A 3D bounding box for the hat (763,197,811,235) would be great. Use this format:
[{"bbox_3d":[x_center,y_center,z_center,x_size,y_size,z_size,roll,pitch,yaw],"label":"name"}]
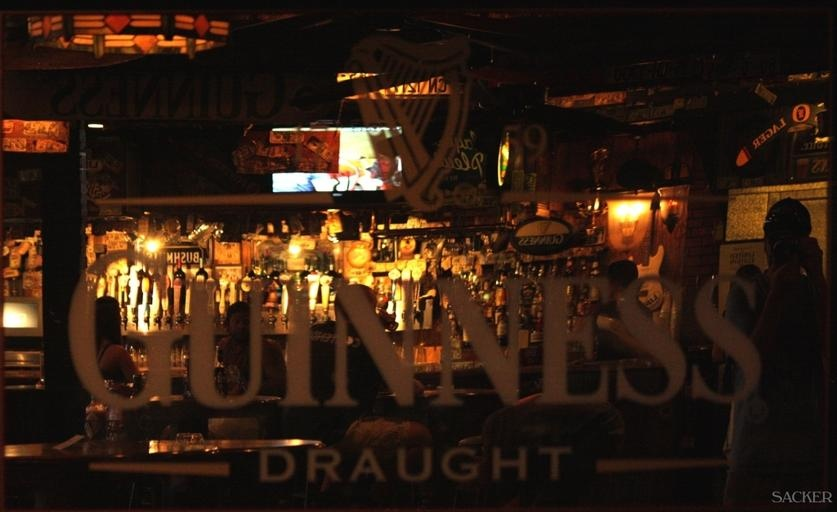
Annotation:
[{"bbox_3d":[2.724,-0.270,9.856,0.260,0.274,0.317,0,-37,19],"label":"hat"}]
